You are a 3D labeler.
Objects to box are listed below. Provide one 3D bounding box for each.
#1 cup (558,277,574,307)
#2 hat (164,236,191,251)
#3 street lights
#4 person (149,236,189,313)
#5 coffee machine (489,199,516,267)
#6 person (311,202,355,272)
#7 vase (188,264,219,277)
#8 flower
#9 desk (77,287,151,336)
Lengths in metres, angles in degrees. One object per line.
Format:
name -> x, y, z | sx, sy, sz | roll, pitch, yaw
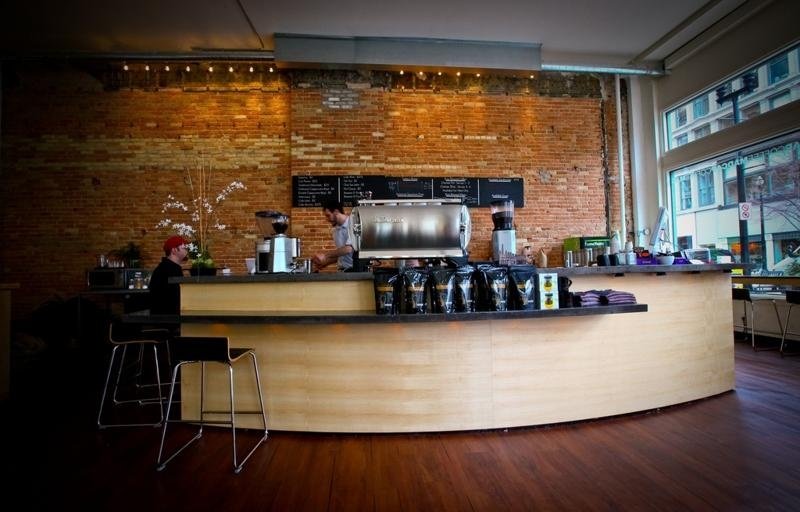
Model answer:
cup -> 1.919, 0.419, 6.906 | 0.155, 0.349, 0.205 | 0, 2, 16
hat -> -2.977, -0.180, 8.026 | 0.308, 0.155, 0.215 | -27, 19, -36
street lights -> 5.436, -1.289, 9.648 | 0.603, 3.193, 0.289 | 0, 2, 33
person -> -2.960, 0.233, 7.667 | 0.468, 0.952, 0.972 | -1, 2, -19
coffee machine -> 1.277, -0.300, 7.324 | 0.268, 0.777, 0.415 | -1, 2, 7
person -> -0.908, -0.241, 8.252 | 0.691, 0.961, 0.653 | -7, 0, -25
vase -> -2.510, 0.189, 7.688 | 0.332, 0.165, 0.213 | -1, -2, -6
flower -> -3.223, -0.511, 9.643 | 1.511, 1.784, 1.173 | 0, 1, 1
desk -> -4.335, 0.838, 9.021 | 0.944, 0.429, 0.502 | -1, -2, 3
